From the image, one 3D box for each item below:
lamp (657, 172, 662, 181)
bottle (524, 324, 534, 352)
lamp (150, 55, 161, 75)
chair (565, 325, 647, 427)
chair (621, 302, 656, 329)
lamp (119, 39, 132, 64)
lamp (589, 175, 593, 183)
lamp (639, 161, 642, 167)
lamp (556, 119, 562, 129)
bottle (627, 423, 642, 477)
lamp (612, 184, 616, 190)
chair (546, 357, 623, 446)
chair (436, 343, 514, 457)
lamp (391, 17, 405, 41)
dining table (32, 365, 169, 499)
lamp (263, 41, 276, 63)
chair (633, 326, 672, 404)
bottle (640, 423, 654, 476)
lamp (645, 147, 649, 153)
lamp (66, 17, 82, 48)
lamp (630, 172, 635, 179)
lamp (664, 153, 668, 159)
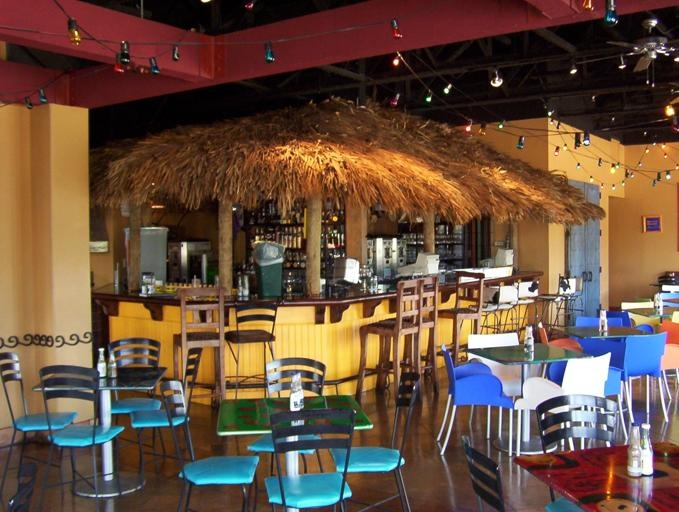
[{"bbox_3d":[7.532,-1.869,16.543,0.114,0.240,0.273,-2,0,20],"label":"lamp"},{"bbox_3d":[1.985,0.872,7.364,0.096,0.269,0.405,-2,0,15],"label":"bottle"},{"bbox_3d":[-1.969,-1.995,7.422,0.066,0.240,0.124,-24,-12,37],"label":"lamp"},{"bbox_3d":[3.082,1.357,8.172,0.897,1.001,0.924,-2,-3,38],"label":"chair"},{"bbox_3d":[4.199,0.801,9.859,0.384,0.583,0.538,-2,1,37],"label":"chair"},{"bbox_3d":[-2.117,-1.992,6.905,0.089,0.234,0.174,-2,0,-27],"label":"lamp"},{"bbox_3d":[5.656,-1.725,15.765,0.049,0.161,0.266,-2,0,29],"label":"lamp"},{"bbox_3d":[7.240,-2.204,16.918,0.095,0.148,0.103,-2,0,5],"label":"lamp"},{"bbox_3d":[4.335,-2.599,13.889,0.075,0.260,0.176,7,0,11],"label":"lamp"},{"bbox_3d":[2.085,1.363,4.978,0.096,0.355,0.192,-2,0,23],"label":"bottle"},{"bbox_3d":[6.547,-1.630,16.770,0.040,0.138,0.218,-2,0,40],"label":"lamp"},{"bbox_3d":[2.498,1.350,7.040,0.590,1.082,0.699,-1,-1,-3],"label":"chair"},{"bbox_3d":[1.342,1.459,7.501,0.964,1.547,0.883,0,1,3],"label":"chair"},{"bbox_3d":[0.601,-2.359,7.320,0.122,0.208,0.052,-27,12,-16],"label":"lamp"},{"bbox_3d":[-2.239,1.569,6.633,1.100,1.440,1.175,1,4,13],"label":"dining table"},{"bbox_3d":[-0.755,-2.206,7.627,0.124,0.255,0.493,-2,0,-5],"label":"lamp"},{"bbox_3d":[3.573,1.345,8.106,0.444,0.940,1.758,-2,0,25],"label":"chair"},{"bbox_3d":[2.209,1.363,5.051,0.083,0.350,0.288,-2,0,24],"label":"bottle"},{"bbox_3d":[7.332,-2.494,16.743,0.059,0.161,0.089,-10,8,-1],"label":"lamp"},{"bbox_3d":[-2.420,-2.045,6.413,0.089,0.268,0.308,-2,0,-18],"label":"lamp"},{"bbox_3d":[7.120,-1.965,17.074,0.099,0.151,0.032,0,3,1],"label":"lamp"},{"bbox_3d":[7.603,-2.320,16.356,0.032,0.120,0.094,-2,0,-37],"label":"lamp"}]
